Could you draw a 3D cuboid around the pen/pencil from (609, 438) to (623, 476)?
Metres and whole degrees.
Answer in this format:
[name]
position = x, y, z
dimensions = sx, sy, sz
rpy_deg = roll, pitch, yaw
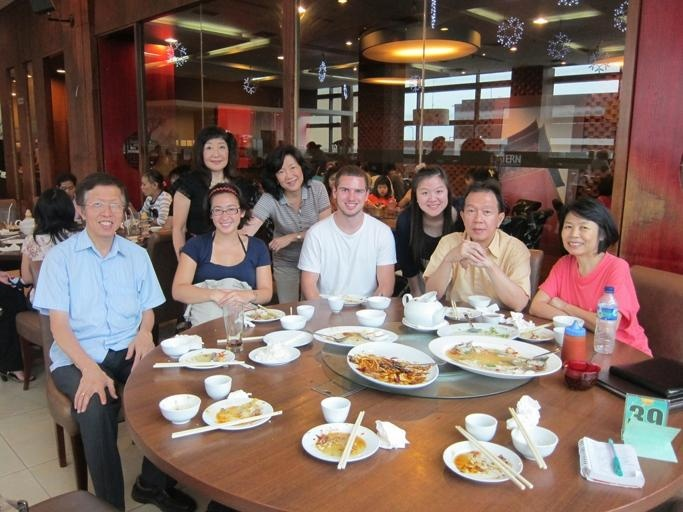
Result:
[pen/pencil]
position = 0.788, 0.587, 1.464
dimensions = 0.021, 0.017, 0.117
rpy_deg = 0, 18, 15

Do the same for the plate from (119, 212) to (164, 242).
[plate]
position = -1.865, -0.269, 4.698
dimensions = 0.415, 0.138, 0.412
rpy_deg = 2, 15, -14

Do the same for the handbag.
[handbag]
position = -0.673, 0.247, 2.766
dimensions = 0.330, 0.295, 0.120
rpy_deg = -9, 6, -22

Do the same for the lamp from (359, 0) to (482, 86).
[lamp]
position = 0.577, -1.751, 4.143
dimensions = 1.092, 0.656, 0.253
rpy_deg = 9, 16, 41

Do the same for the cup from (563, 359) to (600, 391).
[cup]
position = 0.871, 0.426, 1.849
dimensions = 0.105, 0.073, 0.104
rpy_deg = -1, 7, 0
